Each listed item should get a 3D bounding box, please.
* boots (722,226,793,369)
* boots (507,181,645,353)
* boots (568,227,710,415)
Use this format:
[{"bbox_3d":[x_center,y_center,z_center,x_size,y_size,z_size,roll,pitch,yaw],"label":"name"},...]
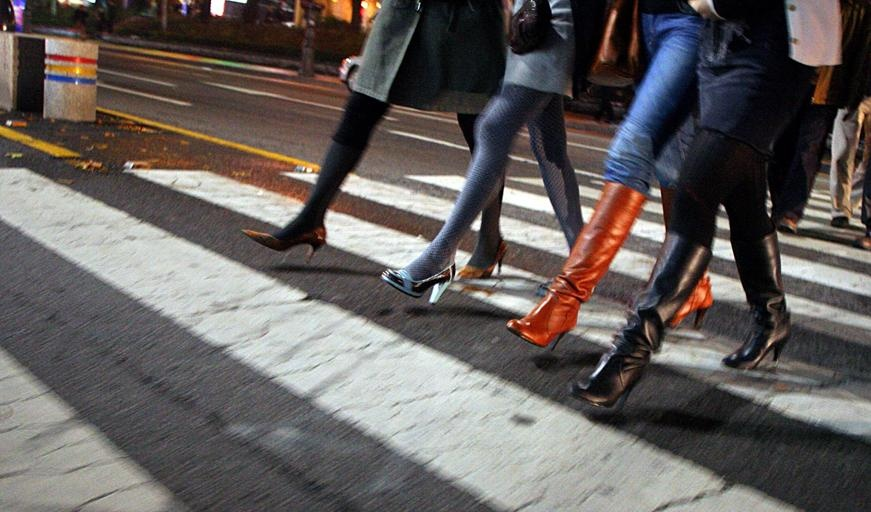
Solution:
[{"bbox_3d":[1.679,0.206,3.266,0.328,0.724,0.324,0,2,13],"label":"boots"},{"bbox_3d":[0.706,0.053,3.086,0.232,0.919,0.486,34,6,39],"label":"boots"},{"bbox_3d":[0.929,0.316,2.767,0.898,0.359,0.249,-30,36,-22],"label":"boots"}]
